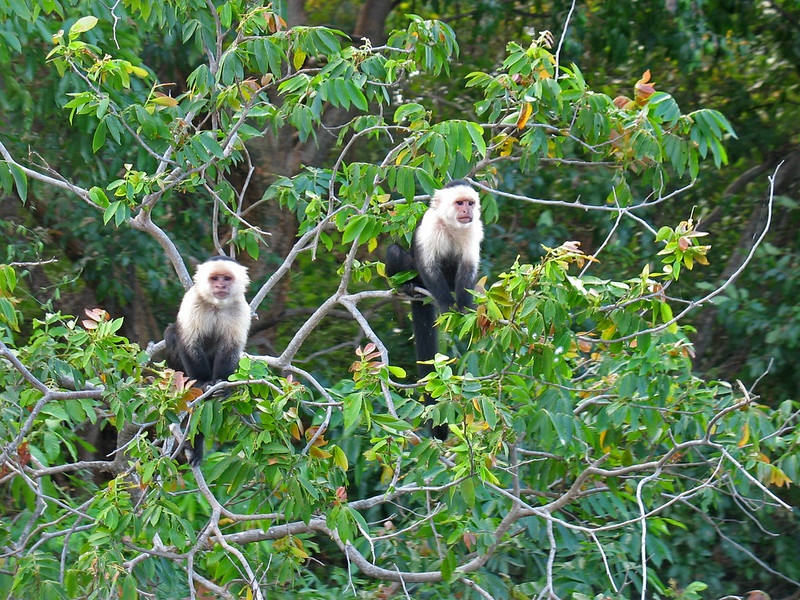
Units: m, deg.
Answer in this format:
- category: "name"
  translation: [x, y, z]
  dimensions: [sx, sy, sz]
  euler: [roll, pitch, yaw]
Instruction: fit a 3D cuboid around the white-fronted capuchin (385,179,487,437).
- category: "white-fronted capuchin"
  translation: [0.401, 0.054, 9.609]
  dimensions: [0.749, 1.944, 0.886]
  euler: [-4, 24, -28]
